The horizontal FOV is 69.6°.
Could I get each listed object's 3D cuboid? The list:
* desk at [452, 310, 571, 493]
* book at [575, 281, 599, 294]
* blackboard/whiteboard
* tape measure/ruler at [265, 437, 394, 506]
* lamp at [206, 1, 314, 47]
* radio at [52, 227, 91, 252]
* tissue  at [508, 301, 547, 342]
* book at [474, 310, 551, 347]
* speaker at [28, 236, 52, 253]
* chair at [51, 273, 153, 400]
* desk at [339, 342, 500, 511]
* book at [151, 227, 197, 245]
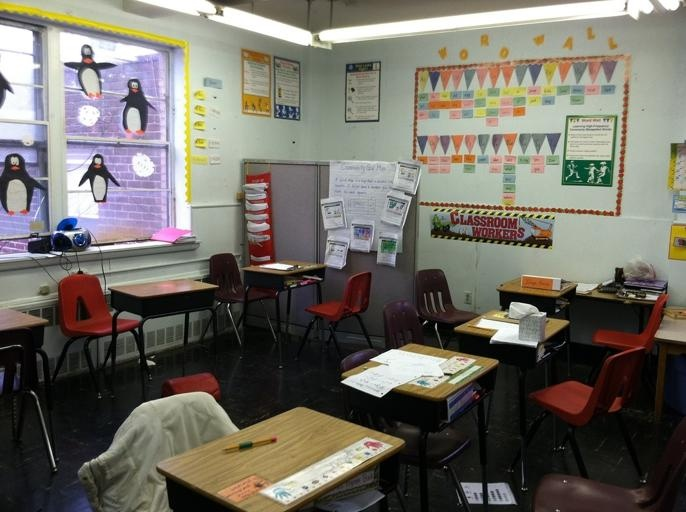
[{"bbox_3d":[1.263,1.168,4.104,1.001,1.346,1.340,2,6,34],"label":"desk"},{"bbox_3d":[2.659,0.357,5.435,0.165,0.041,0.169,8,19,44],"label":"book"},{"bbox_3d":[2.217,-1.445,5.922,2.033,1.476,0.092,5,9,30],"label":"blackboard/whiteboard"},{"bbox_3d":[-0.051,0.888,2.063,0.603,0.030,0.147,-8,14,-39],"label":"tape measure/ruler"},{"bbox_3d":[-0.975,-2.615,5.558,1.470,0.156,0.236,-3,-12,-41],"label":"lamp"},{"bbox_3d":[-2.718,-0.151,4.943,0.282,0.156,0.210,1,1,-22],"label":"radio"},{"bbox_3d":[1.359,0.453,3.600,0.228,0.328,0.299,1,4,30],"label":"tissue "},{"bbox_3d":[1.223,0.554,3.582,0.291,0.068,0.299,8,15,37],"label":"book"},{"bbox_3d":[-2.942,-0.116,4.829,0.167,0.167,0.164,6,6,15],"label":"speaker"},{"bbox_3d":[-2.458,0.730,4.828,0.752,1.060,0.709,10,14,42],"label":"chair"},{"bbox_3d":[0.456,1.011,2.871,0.787,1.035,0.799,9,16,41],"label":"desk"},{"bbox_3d":[-2.028,-0.265,5.861,0.329,0.114,0.260,5,8,36],"label":"book"}]
